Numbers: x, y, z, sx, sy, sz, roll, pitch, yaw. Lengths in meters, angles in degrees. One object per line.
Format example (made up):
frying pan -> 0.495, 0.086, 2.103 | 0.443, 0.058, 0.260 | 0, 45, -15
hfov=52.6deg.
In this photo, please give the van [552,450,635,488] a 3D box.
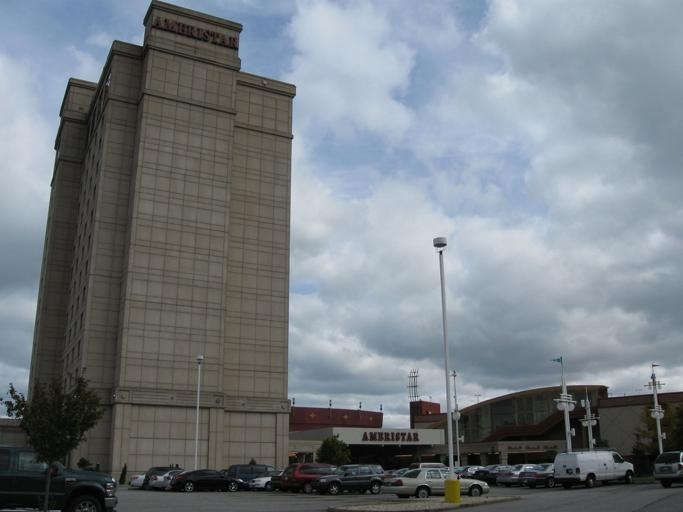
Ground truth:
van -> 18.446, 15.434, 50.438 | 7.264, 2.598, 4.788 | 8, -20, -28
